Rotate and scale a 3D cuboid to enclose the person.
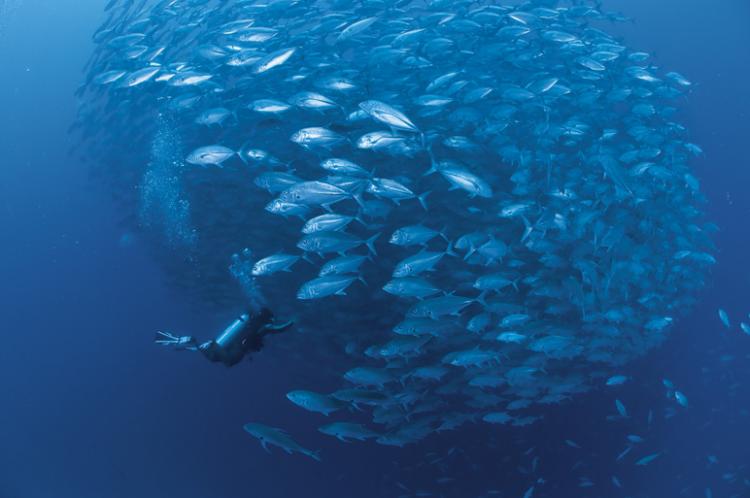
[{"bbox_3d":[-3.271,2.161,17.918,2.337,1.414,0.994,-26,50,-12],"label":"person"}]
